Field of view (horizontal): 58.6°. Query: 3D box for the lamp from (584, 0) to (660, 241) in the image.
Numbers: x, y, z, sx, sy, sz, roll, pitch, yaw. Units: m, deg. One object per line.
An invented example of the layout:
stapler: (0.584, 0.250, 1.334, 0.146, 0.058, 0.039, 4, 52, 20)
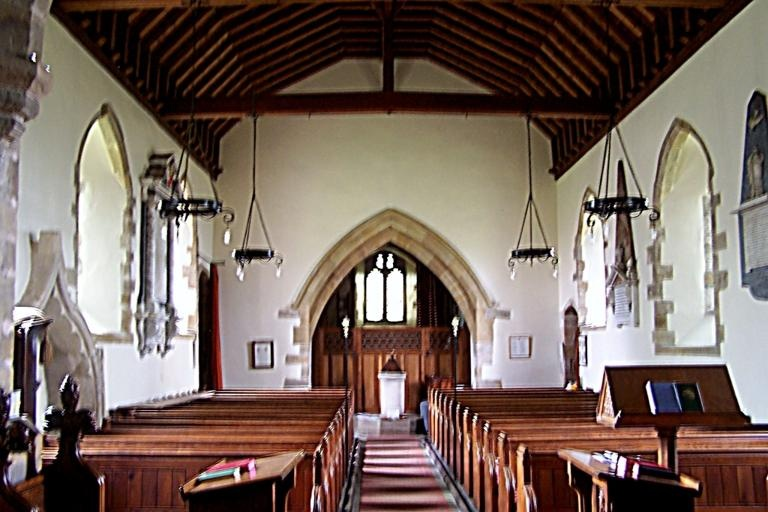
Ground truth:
lamp: (3.604, -1.755, 10.610, 1.021, 2.874, 3.564, -3, -8, 17)

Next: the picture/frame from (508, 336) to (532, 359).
picture/frame: (2.826, 1.879, 14.211, 0.417, 0.502, 0.464, -1, 1, 4)

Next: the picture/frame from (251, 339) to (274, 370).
picture/frame: (-2.510, 2.029, 14.210, 0.458, 0.557, 0.209, -4, -5, 1)

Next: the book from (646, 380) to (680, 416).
book: (2.316, 1.170, 5.658, 0.234, 0.257, 0.120, -3, -7, 12)

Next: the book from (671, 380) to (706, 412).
book: (2.519, 1.171, 5.647, 0.202, 0.223, 0.052, -1, -25, -2)
